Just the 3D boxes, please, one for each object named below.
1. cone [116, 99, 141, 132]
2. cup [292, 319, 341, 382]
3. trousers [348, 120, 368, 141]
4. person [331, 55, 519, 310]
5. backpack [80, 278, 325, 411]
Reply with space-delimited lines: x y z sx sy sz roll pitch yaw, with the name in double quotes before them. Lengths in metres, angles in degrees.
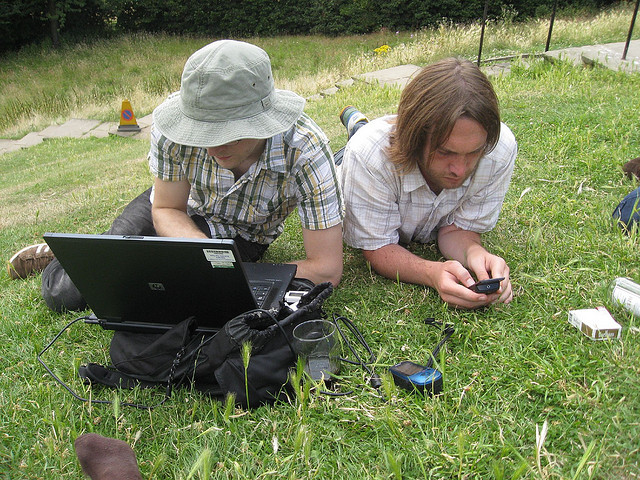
"cone" -3.838 -2.438 10.905 0.572 0.572 0.601 -3 12 -10
"cup" -0.007 0.575 2.744 0.272 0.286 0.279 -4 14 1
"trousers" 0.341 -1.009 5.020 0.144 0.134 0.253 0 26 3
"person" 0.639 -0.618 3.749 0.840 1.069 2.084 -14 44 2
"backpack" -0.670 0.435 3.105 1.110 0.384 0.854 -2 14 -19
